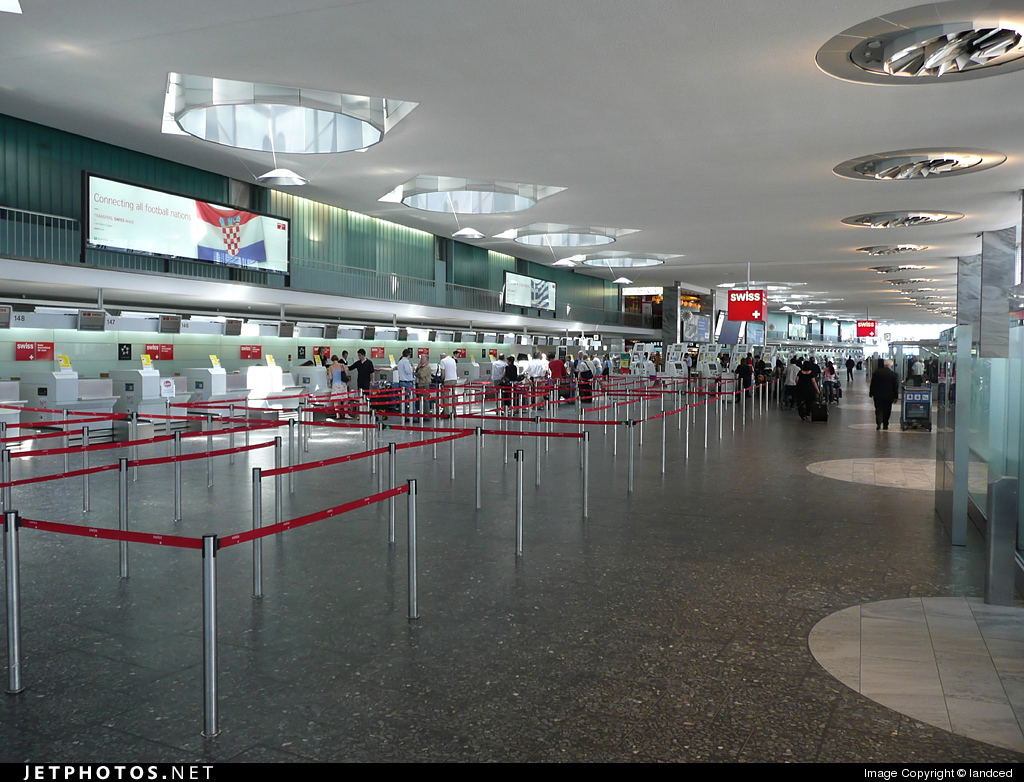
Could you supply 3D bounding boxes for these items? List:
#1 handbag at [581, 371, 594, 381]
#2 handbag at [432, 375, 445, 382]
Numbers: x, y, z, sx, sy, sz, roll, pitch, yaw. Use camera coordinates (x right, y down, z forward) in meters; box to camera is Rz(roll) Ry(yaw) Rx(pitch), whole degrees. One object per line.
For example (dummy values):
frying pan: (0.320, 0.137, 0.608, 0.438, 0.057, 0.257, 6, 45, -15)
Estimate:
handbag: (3.080, -0.629, 30.303, 0.531, 0.220, 0.677, 1, 4, -2)
handbag: (-2.749, -0.423, 27.122, 0.309, 0.329, 0.526, 3, 1, 14)
